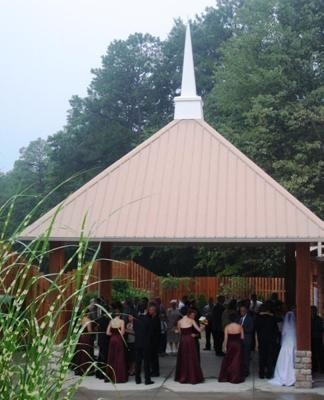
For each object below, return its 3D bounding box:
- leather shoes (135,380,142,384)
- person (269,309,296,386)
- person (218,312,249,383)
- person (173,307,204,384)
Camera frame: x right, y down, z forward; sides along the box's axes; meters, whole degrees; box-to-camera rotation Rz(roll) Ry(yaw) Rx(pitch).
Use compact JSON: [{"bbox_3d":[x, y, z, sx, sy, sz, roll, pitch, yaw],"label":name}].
[{"bbox_3d":[-0.553,4.126,10.582,0.111,0.091,0.067,2,-4,9],"label":"leather shoes"},{"bbox_3d":[2.757,3.362,10.542,0.543,1.600,0.325,-2,-13,16],"label":"person"},{"bbox_3d":[1.621,3.416,10.703,0.567,1.565,0.570,3,-12,-5],"label":"person"},{"bbox_3d":[0.607,3.368,10.700,0.626,1.688,0.642,1,-12,6],"label":"person"}]
